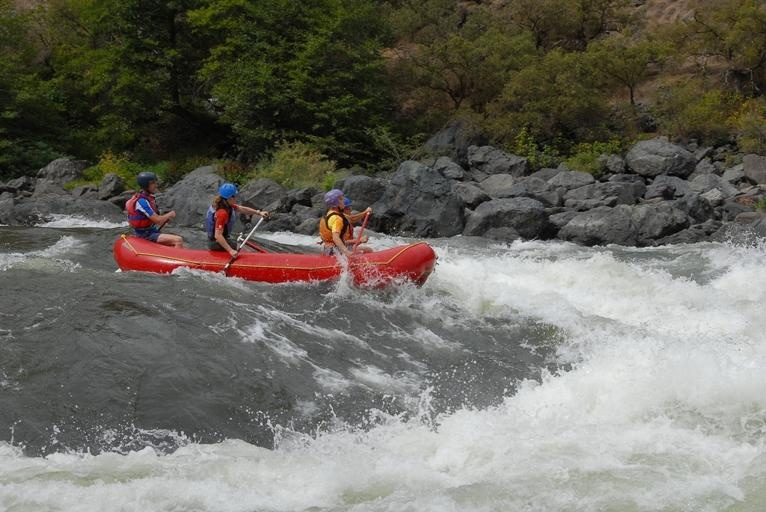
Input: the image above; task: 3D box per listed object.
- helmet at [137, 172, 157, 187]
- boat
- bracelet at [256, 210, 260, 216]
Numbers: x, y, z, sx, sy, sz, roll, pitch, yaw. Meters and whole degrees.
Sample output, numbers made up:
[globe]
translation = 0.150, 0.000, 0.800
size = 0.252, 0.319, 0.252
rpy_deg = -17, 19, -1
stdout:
[helmet]
translation = -5.841, -1.894, 21.701
size = 0.449, 0.338, 0.326
rpy_deg = -9, 21, -30
[boat]
translation = -2.566, 0.181, 21.571
size = 7.398, 1.445, 2.442
rpy_deg = 4, -1, 0
[bracelet]
translation = -3.016, -1.057, 21.176
size = 0.089, 0.086, 0.030
rpy_deg = -1, 4, -15
